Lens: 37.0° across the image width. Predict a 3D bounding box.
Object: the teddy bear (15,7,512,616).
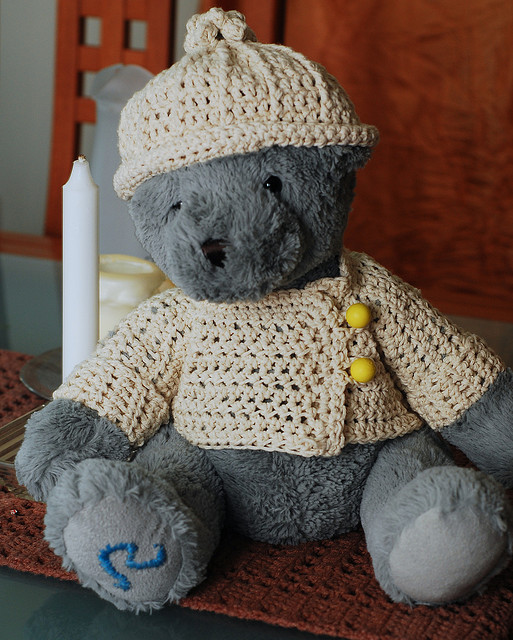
[{"bbox_3d":[0.026,-0.008,0.565,0.377,0.415,0.302,10,26,17],"label":"teddy bear"}]
